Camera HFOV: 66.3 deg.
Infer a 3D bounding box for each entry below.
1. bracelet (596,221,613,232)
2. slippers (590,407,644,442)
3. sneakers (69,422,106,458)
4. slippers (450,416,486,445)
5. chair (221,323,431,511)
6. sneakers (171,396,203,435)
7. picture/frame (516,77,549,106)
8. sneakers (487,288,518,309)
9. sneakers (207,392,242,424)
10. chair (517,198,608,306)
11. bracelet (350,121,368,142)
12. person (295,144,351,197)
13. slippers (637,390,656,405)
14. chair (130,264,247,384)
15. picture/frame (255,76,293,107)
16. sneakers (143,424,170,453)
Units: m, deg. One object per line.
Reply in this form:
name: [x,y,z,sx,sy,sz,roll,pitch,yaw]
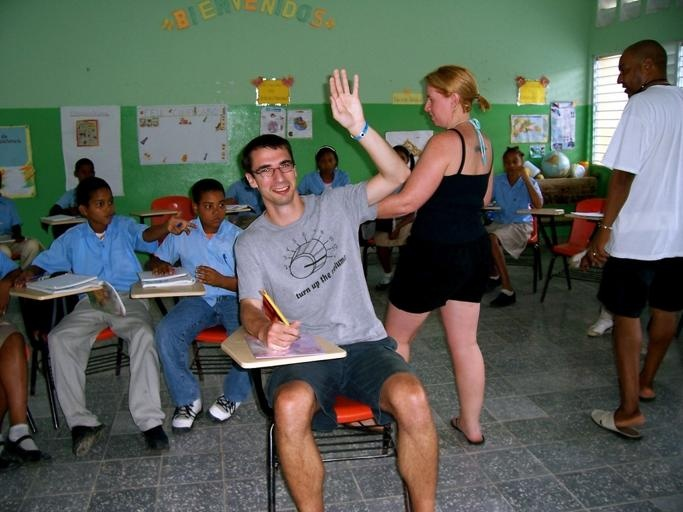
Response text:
bracelet: [1.486,-0.172,2.931,0.058,0.021,0.050,22,-8,-16]
slippers: [1.570,0.945,2.982,0.104,0.065,0.239,-19,25,-33]
sneakers: [-1.419,1.007,2.962,0.106,0.085,0.240,6,24,9]
slippers: [0.715,0.991,2.974,0.080,0.054,0.204,-24,35,-10]
chair: [-0.105,0.732,2.488,0.693,0.949,0.913,-1,15,4]
sneakers: [-0.930,0.950,3.151,0.093,0.114,0.253,4,5,-1]
picture/frame: [2.721,-2.385,7.525,0.451,0.372,0.022,-2,21,-5]
sneakers: [1.592,0.418,5.165,0.302,0.135,0.138,-5,10,-20]
sneakers: [-0.727,0.930,3.250,0.116,0.107,0.269,-45,3,0]
chair: [2.176,-0.097,4.968,0.580,0.863,0.799,-4,7,-22]
bracelet: [0.068,-0.545,2.312,0.031,0.082,0.068,32,44,10]
person: [-0.186,-1.050,6.366,0.794,0.540,0.385,-4,16,1]
slippers: [1.904,0.879,3.262,0.112,0.075,0.043,-10,13,4]
chair: [-0.894,0.563,3.391,0.355,0.517,0.362,-8,17,3]
picture/frame: [-0.867,-2.130,6.613,0.412,0.406,0.124,2,4,-9]
sneakers: [-1.035,1.021,2.934,0.092,0.072,0.187,-4,7,-31]
